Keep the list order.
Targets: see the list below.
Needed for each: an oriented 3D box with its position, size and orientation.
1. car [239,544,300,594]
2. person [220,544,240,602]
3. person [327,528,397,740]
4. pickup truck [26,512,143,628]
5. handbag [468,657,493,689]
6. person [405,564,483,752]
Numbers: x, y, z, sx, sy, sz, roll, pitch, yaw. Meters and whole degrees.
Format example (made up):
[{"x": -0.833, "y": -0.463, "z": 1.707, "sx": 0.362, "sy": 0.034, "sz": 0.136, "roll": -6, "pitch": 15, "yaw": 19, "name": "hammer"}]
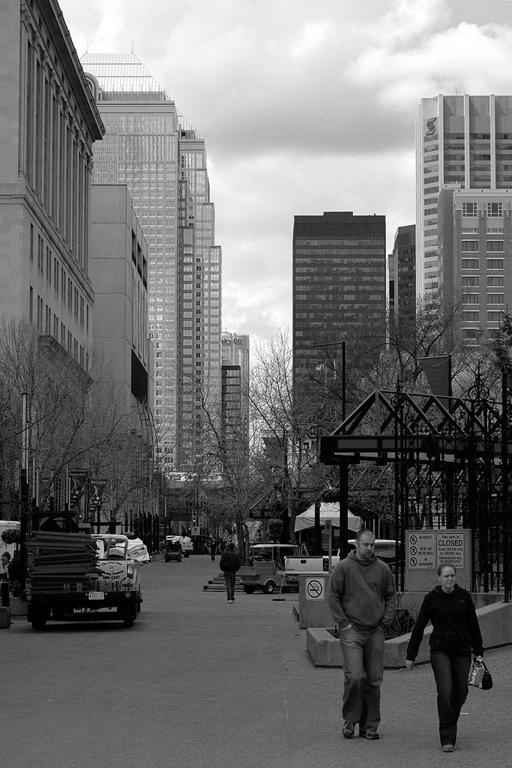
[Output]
[{"x": 0.277, "y": 5.579, "z": 42.225, "sx": 1.090, "sy": 1.499, "sz": 1.879, "roll": -1, "pitch": -2, "yaw": 4, "name": "car"}, {"x": -0.661, "y": 4.618, "z": 35.033, "sx": 0.424, "sy": 1.421, "sz": 1.761, "roll": 0, "pitch": -6, "yaw": -2, "name": "person"}, {"x": 0.897, "y": 2.175, "z": 11.954, "sx": 0.558, "sy": 1.529, "sz": 0.454, "roll": 0, "pitch": -4, "yaw": -3, "name": "person"}, {"x": -2.989, "y": 3.189, "z": 24.402, "sx": 1.078, "sy": 1.544, "sz": 2.483, "roll": 0, "pitch": -1, "yaw": 0, "name": "pickup truck"}, {"x": 1.801, "y": 2.329, "z": 11.512, "sx": 0.178, "sy": 0.266, "sz": 0.326, "roll": -1, "pitch": -6, "yaw": 10, "name": "handbag"}, {"x": 1.530, "y": 2.208, "z": 11.573, "sx": 0.481, "sy": 1.599, "sz": 0.522, "roll": -6, "pitch": -25, "yaw": 19, "name": "person"}]
